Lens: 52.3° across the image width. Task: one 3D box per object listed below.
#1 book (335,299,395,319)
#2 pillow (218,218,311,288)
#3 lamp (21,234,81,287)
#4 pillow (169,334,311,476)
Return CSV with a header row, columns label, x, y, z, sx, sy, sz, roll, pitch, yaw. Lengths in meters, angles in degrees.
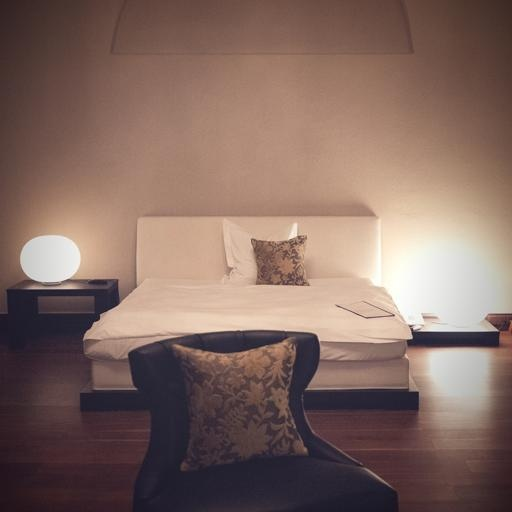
label,x,y,z,sx,sy,sz,roll,pitch,yaw
book,0.697,0.341,3.337,0.278,0.069,0.372,-1,2,-22
pillow,0.068,0.015,4.186,0.573,0.536,0.175,-2,-7,31
lamp,-1.701,0.034,4.370,0.432,0.296,0.426,-2,-14,1
pillow,-0.057,0.567,2.030,0.507,0.418,0.245,-2,10,-16
